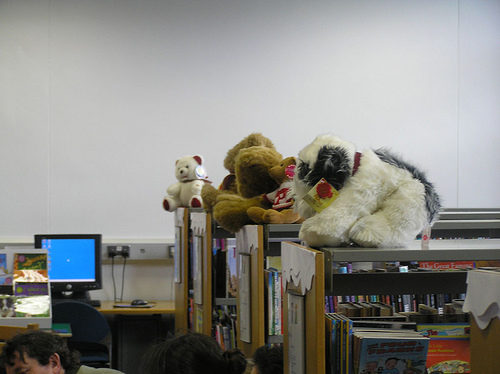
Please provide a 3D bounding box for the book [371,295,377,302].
[{"bbox_3d":[0.763,0.699,3.634,0.036,0.034,0.084,-1,-2,11],"label":"book"}]

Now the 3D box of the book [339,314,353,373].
[{"bbox_3d":[0.443,0.715,2.675,0.046,0.238,0.103,-1,-2,-4],"label":"book"}]

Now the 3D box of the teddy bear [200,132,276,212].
[{"bbox_3d":[-0.106,-0.079,4.069,0.441,0.544,0.469,15,13,29],"label":"teddy bear"}]

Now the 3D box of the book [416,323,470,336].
[{"bbox_3d":[0.923,0.687,2.821,0.259,0.061,0.018,-1,-1,-6],"label":"book"}]

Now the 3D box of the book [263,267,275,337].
[{"bbox_3d":[0.123,0.682,3.424,0.039,0.372,0.277,-4,-14,-9],"label":"book"}]

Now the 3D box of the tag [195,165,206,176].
[{"bbox_3d":[-0.391,-0.125,4.668,0.074,0.072,0.016,-3,-15,-45],"label":"tag"}]

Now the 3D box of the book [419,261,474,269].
[{"bbox_3d":[1.078,0.438,3.267,0.146,0.033,0.133,1,-4,-10],"label":"book"}]

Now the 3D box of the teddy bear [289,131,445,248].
[{"bbox_3d":[0.575,0.003,2.823,0.684,0.478,0.512,4,5,4],"label":"teddy bear"}]

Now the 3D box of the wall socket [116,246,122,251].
[{"bbox_3d":[-1.136,0.541,5.114,0.057,0.053,0.029,0,-1,-4],"label":"wall socket"}]

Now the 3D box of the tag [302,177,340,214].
[{"bbox_3d":[0.320,0.048,2.650,0.165,0.168,0.037,-35,19,12],"label":"tag"}]

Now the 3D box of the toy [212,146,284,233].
[{"bbox_3d":[0.029,-0.045,3.717,0.428,0.557,0.444,18,26,36],"label":"toy"}]

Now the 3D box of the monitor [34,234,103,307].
[{"bbox_3d":[-1.484,0.704,4.838,0.564,0.626,0.558,-5,-32,-11],"label":"monitor"}]

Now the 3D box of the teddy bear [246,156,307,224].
[{"bbox_3d":[0.159,0.007,3.478,0.374,0.430,0.368,1,2,4],"label":"teddy bear"}]

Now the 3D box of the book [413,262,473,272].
[{"bbox_3d":[1.115,0.457,3.343,0.215,0.048,0.196,0,-1,3],"label":"book"}]

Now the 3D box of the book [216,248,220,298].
[{"bbox_3d":[-0.217,0.584,3.975,0.027,0.323,0.035,-1,-1,-4],"label":"book"}]

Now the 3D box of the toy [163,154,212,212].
[{"bbox_3d":[-0.490,-0.029,4.735,0.353,0.436,0.304,-2,3,32],"label":"toy"}]

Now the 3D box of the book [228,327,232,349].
[{"bbox_3d":[-0.131,0.984,3.827,0.024,0.120,0.087,-1,-2,-3],"label":"book"}]

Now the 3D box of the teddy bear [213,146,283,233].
[{"bbox_3d":[-0.010,0.005,3.587,0.520,0.599,0.445,2,3,-11],"label":"teddy bear"}]

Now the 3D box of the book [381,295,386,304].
[{"bbox_3d":[0.833,0.711,3.692,0.025,0.040,0.035,-2,-2,28],"label":"book"}]

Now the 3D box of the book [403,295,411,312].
[{"bbox_3d":[0.943,0.703,3.545,0.044,0.101,0.053,-1,-2,11],"label":"book"}]

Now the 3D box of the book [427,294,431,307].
[{"bbox_3d":[1.037,0.664,3.423,0.017,0.058,0.050,-1,-2,12],"label":"book"}]

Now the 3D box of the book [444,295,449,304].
[{"bbox_3d":[1.117,0.646,3.360,0.018,0.065,0.071,0,-3,39],"label":"book"}]

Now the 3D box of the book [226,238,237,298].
[{"bbox_3d":[-0.128,0.545,3.911,0.063,0.396,0.185,-1,-2,-7],"label":"book"}]

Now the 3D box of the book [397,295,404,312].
[{"bbox_3d":[0.913,0.711,3.575,0.040,0.093,0.013,-2,-2,38],"label":"book"}]

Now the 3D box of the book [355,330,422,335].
[{"bbox_3d":[0.621,0.661,2.681,0.279,0.016,0.033,-1,-2,-2],"label":"book"}]

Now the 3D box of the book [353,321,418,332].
[{"bbox_3d":[0.632,0.656,2.770,0.308,0.045,0.033,-1,-2,-5],"label":"book"}]

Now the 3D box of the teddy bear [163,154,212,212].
[{"bbox_3d":[-0.473,-0.013,4.849,0.403,0.542,0.443,2,-4,-40],"label":"teddy bear"}]
